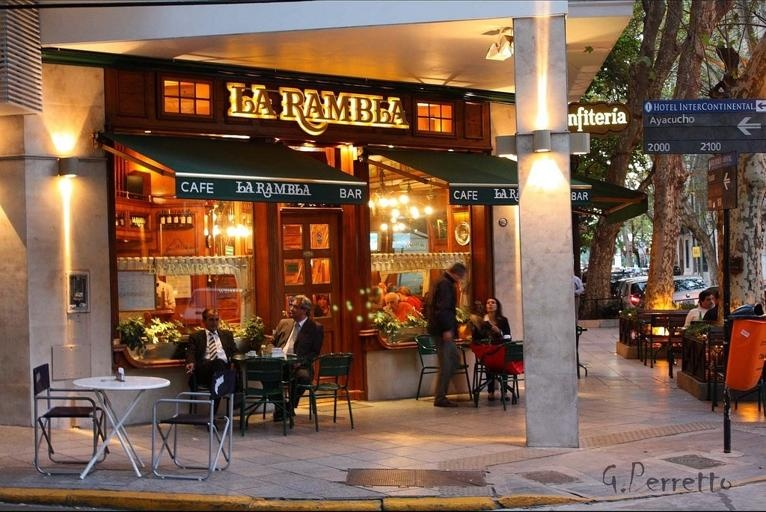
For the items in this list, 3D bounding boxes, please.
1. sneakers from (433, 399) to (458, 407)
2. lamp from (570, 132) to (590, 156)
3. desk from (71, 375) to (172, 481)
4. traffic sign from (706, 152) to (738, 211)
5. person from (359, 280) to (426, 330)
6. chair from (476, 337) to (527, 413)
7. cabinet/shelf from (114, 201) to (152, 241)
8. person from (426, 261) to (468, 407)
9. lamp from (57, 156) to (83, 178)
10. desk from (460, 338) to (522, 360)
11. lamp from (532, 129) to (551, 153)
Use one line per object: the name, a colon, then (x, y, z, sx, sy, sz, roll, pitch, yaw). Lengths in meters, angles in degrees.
sneakers: (1.135, 2.775, 18.888, 0.500, 0.198, 0.152, -1, -1, -4)
lamp: (3.159, -1.823, 16.150, 0.352, 0.242, 0.348, -1, -5, 22)
desk: (-4.015, 2.588, 15.346, 1.604, 1.589, 1.669, 0, -6, -2)
traffic sign: (5.288, -1.157, 15.640, 0.243, 0.869, 0.729, -3, 7, -18)
person: (0.268, 0.884, 19.964, 1.024, 0.705, 0.453, -1, 17, -9)
chair: (2.276, 2.191, 18.665, 0.824, 0.956, 0.810, 22, -5, -6)
cabinet/shelf: (-4.525, -0.612, 17.908, 0.722, 0.604, 0.370, 3, -8, -44)
person: (1.167, 1.479, 18.828, 0.534, 2.655, 0.634, -4, 7, -29)
lamp: (-5.441, -1.524, 17.285, 0.364, 0.309, 0.327, -6, -8, 43)
desk: (2.157, 1.785, 18.881, 1.028, 0.426, 0.352, 5, 8, 42)
lamp: (2.491, -1.816, 15.872, 0.309, 0.327, 0.312, -5, -10, 36)
